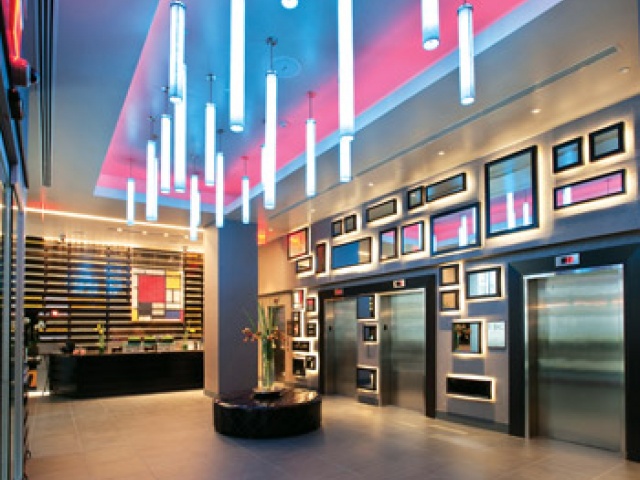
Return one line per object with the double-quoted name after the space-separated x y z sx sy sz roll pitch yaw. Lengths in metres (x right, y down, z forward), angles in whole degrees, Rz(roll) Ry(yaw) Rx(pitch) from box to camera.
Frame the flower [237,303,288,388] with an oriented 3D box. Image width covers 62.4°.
-0.862 1.640 8.258 0.519 1.237 0.434 -2 -2 -21 "flower"
